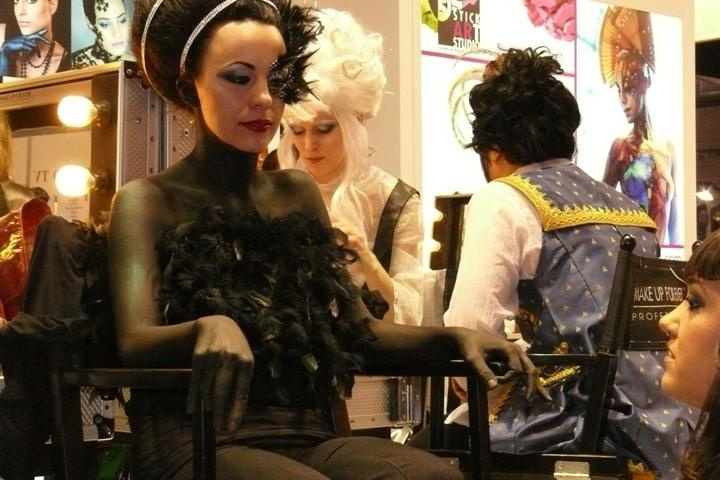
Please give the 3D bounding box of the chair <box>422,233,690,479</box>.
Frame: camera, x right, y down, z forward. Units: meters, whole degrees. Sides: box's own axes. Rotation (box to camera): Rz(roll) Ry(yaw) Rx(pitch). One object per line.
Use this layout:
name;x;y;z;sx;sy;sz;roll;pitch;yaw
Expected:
chair;0.643;0.401;2.645;0.614;0.857;0.582;3;4;14
